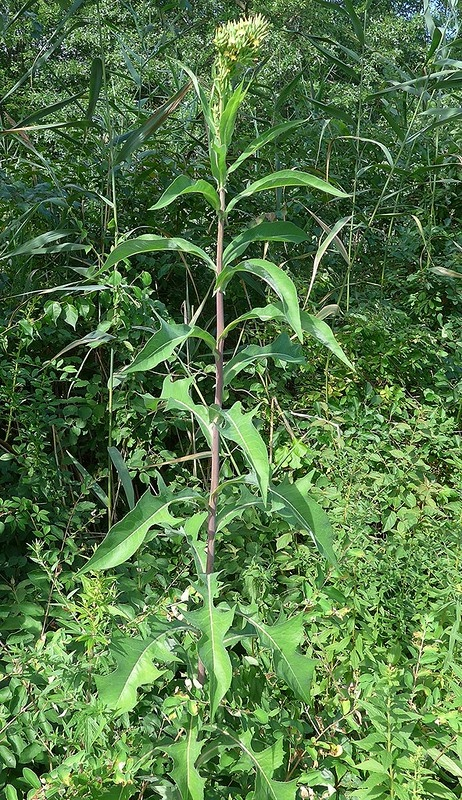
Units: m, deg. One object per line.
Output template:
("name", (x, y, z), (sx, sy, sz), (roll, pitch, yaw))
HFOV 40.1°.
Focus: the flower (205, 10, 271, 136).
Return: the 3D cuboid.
("flower", (0.012, -0.516, 0.996), (0.084, 0.162, 0.211), (4, 29, -3))
